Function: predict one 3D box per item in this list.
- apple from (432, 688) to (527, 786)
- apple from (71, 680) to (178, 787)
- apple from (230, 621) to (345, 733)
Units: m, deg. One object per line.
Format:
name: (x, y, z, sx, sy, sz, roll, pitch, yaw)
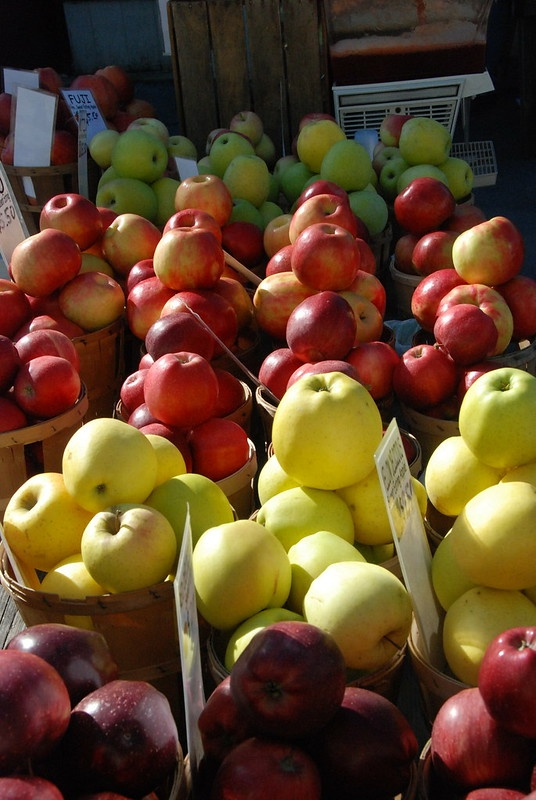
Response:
apple: (0.280, 0.434, 0.802, 0.097, 0.115, 0.094, -21, 28, -20)
apple: (-0.164, 0.380, 0.704, 0.110, 0.081, 0.116, -10, 32, -10)
apple: (0.024, 0.321, 0.727, 0.129, 0.087, 0.107, -20, 34, -24)
